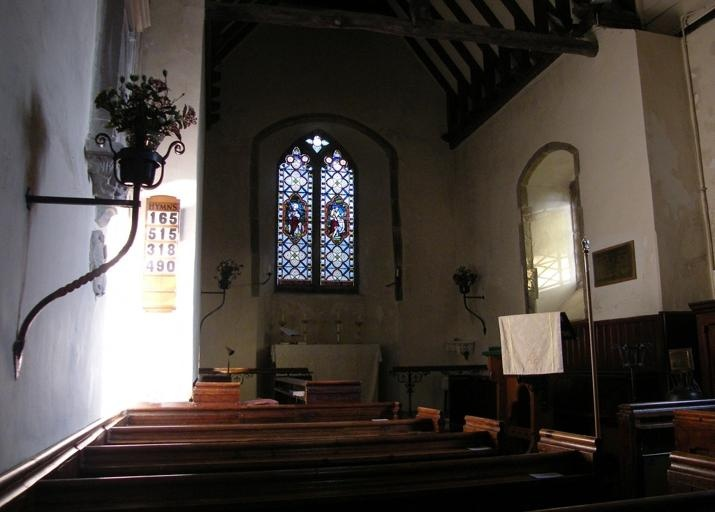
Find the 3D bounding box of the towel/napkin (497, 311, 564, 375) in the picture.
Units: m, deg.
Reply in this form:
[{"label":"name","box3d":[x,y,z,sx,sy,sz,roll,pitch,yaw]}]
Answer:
[{"label":"towel/napkin","box3d":[1.449,0.741,5.294,0.080,0.570,0.631,14,-16,-36]}]

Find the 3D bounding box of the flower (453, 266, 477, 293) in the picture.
[{"label":"flower","box3d":[1.808,0.418,10.873,0.396,0.461,0.418,1,-13,-1]}]
